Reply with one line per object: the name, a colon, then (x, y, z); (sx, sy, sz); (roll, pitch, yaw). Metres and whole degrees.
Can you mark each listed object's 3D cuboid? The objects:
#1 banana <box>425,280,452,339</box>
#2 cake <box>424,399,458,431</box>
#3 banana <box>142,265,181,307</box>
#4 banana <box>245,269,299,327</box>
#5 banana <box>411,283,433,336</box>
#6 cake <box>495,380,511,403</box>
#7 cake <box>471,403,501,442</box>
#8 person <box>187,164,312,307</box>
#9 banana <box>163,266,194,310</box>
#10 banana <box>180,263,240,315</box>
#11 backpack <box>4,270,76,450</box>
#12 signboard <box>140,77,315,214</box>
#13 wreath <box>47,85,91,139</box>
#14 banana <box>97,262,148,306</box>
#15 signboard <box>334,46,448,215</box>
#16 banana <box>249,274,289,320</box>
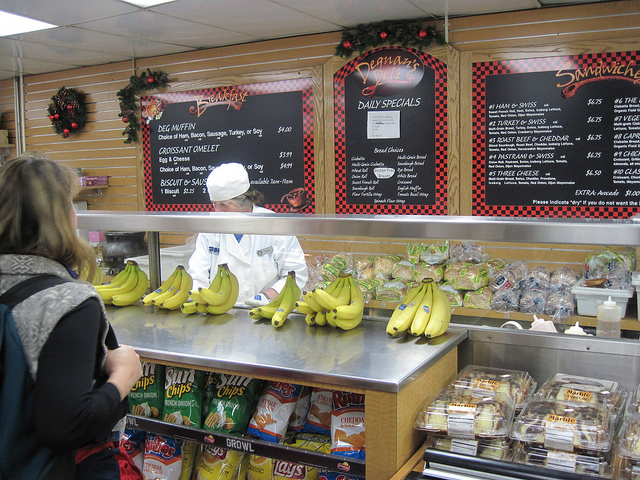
banana: (0.489, 0.286, 1.852); (0.071, 0.105, 0.291); (27, 38, -19)
cake: (0.377, 0.566, 1.435); (0.071, 0.049, 0.097); (-13, 38, 35)
banana: (-0.820, 0.240, 2.311); (0.081, 0.231, 0.048); (39, -9, -5)
banana: (-0.191, 0.262, 2.065); (0.200, 0.218, 0.204); (6, 13, 44)
banana: (0.440, 0.284, 1.830); (0.061, 0.082, 0.234); (33, 44, -10)
cake: (0.620, 0.516, 1.502); (0.045, 0.044, 0.080); (-6, 0, 24)
cake: (0.510, 0.562, 1.366); (0.069, 0.033, 0.096); (1, 52, 23)
person: (-0.506, 0.097, 3.033); (0.879, 1.140, 0.687); (5, 13, 13)
banana: (-0.707, 0.225, 2.348); (0.106, 0.217, 0.330); (17, -17, -27)
banana: (-0.518, 0.252, 2.162); (0.185, 0.190, 0.307); (2, 19, 27)
backpack: (-0.729, 0.291, 1.171); (0.161, 0.402, 0.209); (-6, 10, -19)
signboard: (-1.073, -0.993, 4.845); (2.213, 1.380, 0.167); (2, 10, 26)
wreath: (-3.205, -1.646, 5.716); (0.583, 0.622, 0.251); (4, 11, 34)
banana: (-1.023, 0.225, 2.362); (0.140, 0.137, 0.209); (11, 29, 37)
signboard: (0.621, -0.998, 4.105); (1.074, 1.504, 0.083); (1, 10, 21)
banana: (-0.235, 0.277, 2.128); (0.169, 0.210, 0.195); (10, 12, 32)
